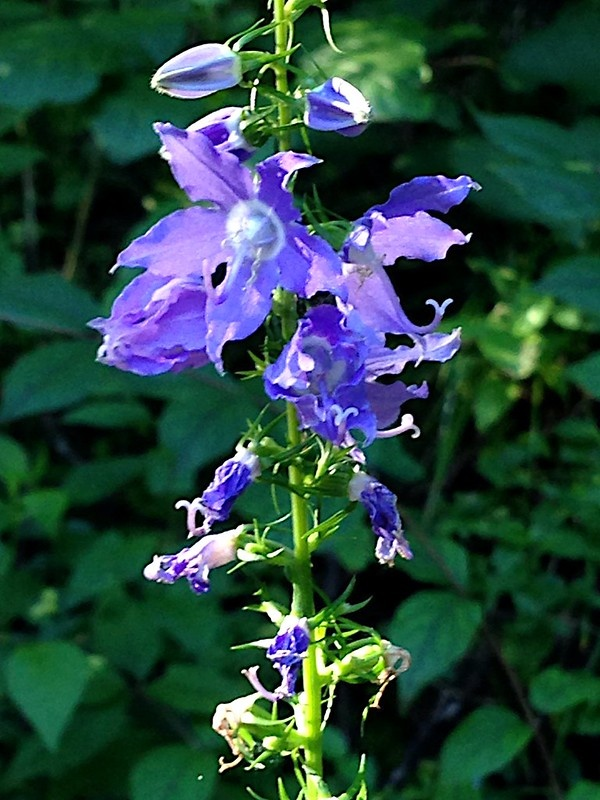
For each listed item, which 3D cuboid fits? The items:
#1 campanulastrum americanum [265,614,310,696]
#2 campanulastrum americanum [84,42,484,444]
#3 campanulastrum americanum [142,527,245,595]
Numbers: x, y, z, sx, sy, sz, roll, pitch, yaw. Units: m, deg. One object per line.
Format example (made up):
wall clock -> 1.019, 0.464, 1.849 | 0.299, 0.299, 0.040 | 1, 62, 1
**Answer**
campanulastrum americanum -> -0.004, 0.360, 1.328 | 0.052, 0.046, 0.107 | 25, 51, -14
campanulastrum americanum -> -0.042, -0.188, 1.305 | 0.437, 0.575, 0.390 | 14, 36, 29
campanulastrum americanum -> -0.149, 0.239, 1.446 | 0.168, 0.063, 0.076 | -24, 75, -15
